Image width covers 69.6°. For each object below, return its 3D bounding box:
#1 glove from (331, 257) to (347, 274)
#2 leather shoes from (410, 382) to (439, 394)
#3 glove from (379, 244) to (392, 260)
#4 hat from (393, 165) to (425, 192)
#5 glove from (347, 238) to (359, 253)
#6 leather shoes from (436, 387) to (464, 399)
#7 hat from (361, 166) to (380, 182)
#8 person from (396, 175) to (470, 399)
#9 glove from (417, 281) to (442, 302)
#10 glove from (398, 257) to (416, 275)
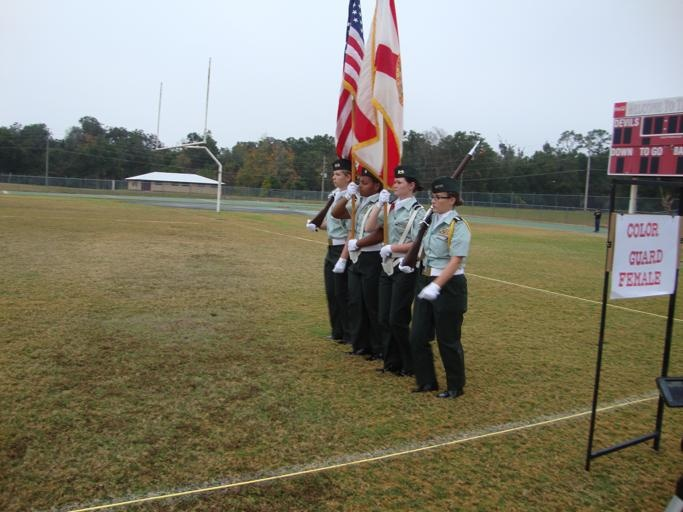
[{"bbox_3d":[-0.009,0.125,6.353,0.163,0.179,0.088,12,-18,46],"label":"glove"},{"bbox_3d":[0.886,1.403,5.229,0.313,0.110,0.096,3,-4,-6],"label":"leather shoes"},{"bbox_3d":[0.500,-0.046,5.505,0.063,0.150,0.122,14,4,8],"label":"glove"},{"bbox_3d":[0.754,-0.854,5.533,0.345,0.116,0.253,21,-4,-35],"label":"hat"},{"bbox_3d":[0.137,-0.126,5.995,0.118,0.124,0.141,1,6,-3],"label":"glove"},{"bbox_3d":[1.117,1.422,5.137,0.291,0.151,0.095,2,-7,5],"label":"leather shoes"},{"bbox_3d":[0.349,-1.023,6.110,0.225,0.083,0.162,20,13,-3],"label":"hat"},{"bbox_3d":[1.015,0.318,5.058,0.767,2.229,0.560,5,11,1],"label":"person"},{"bbox_3d":[0.871,0.348,4.825,0.209,0.085,0.154,-21,25,43],"label":"glove"},{"bbox_3d":[0.668,0.107,5.216,0.194,0.078,0.142,20,20,-16],"label":"glove"}]
